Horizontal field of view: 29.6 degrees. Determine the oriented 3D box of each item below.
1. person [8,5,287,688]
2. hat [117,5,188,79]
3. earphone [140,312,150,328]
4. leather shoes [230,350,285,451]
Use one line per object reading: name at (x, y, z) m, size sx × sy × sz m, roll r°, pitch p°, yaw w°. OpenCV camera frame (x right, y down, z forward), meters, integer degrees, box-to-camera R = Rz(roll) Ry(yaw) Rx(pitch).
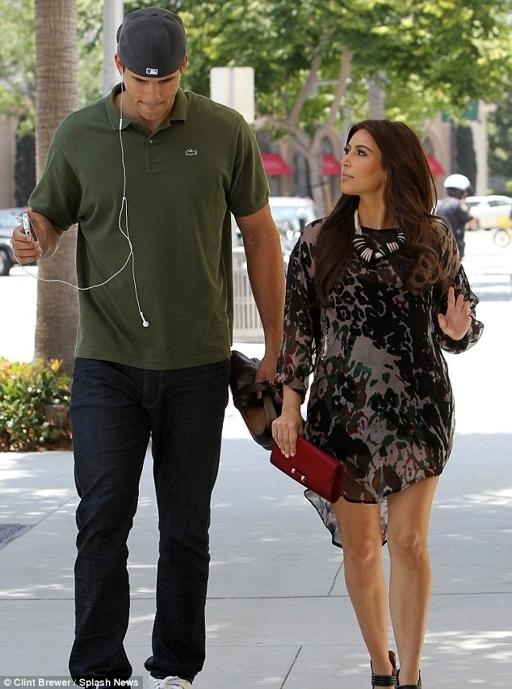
person at (-0.263, 0.011, 2.750) m, size 0.754 × 1.883 × 0.422 m, roll -5°, pitch 7°, yaw -38°
hat at (-0.271, -0.784, 2.524) m, size 0.173 × 0.202 × 0.188 m, roll -1°, pitch 5°, yaw -7°
earphone at (-0.300, -0.067, 2.613) m, size 0.024 × 0.042 × 0.009 m, roll -2°, pitch 5°, yaw -15°
leather shoes at (0.006, 0.158, 2.949) m, size 0.144 × 0.298 × 0.127 m, roll -15°, pitch 0°, yaw 28°
